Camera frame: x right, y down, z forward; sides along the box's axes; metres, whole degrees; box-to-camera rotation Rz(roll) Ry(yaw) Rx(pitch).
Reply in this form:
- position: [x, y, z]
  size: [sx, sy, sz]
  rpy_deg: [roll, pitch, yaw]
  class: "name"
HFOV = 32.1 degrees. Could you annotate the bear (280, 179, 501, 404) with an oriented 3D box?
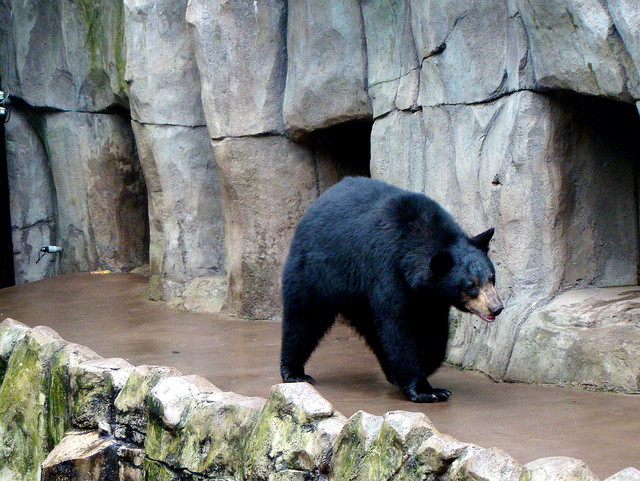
- position: [0.532, 0.330, 10.281]
  size: [2.462, 2.504, 1.151]
  rpy_deg: [6, 7, 41]
  class: "bear"
